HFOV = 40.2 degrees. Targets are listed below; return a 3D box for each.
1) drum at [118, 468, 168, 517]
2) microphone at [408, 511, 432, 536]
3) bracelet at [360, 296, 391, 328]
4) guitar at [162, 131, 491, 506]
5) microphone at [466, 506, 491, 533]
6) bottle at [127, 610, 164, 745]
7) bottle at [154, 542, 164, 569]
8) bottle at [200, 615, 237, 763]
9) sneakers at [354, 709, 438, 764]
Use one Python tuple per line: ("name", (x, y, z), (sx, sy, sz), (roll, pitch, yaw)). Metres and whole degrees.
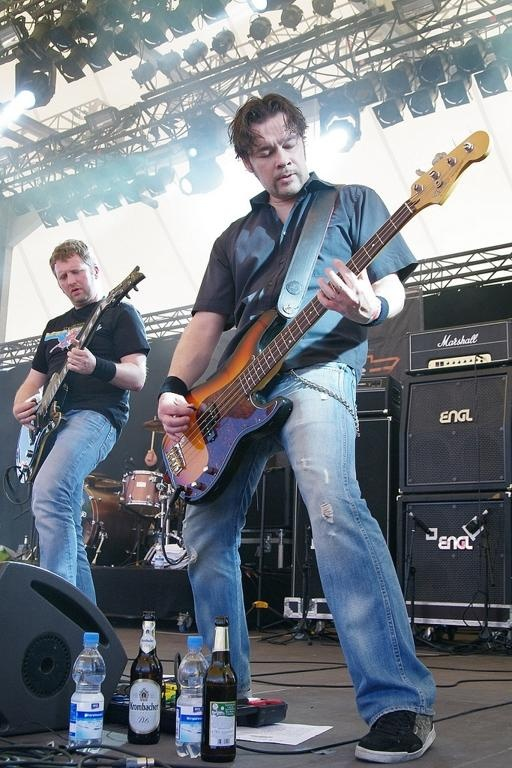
("drum", (-0.950, 0.912, 6.009), (0.469, 0.318, 0.443), (1, -19, 0))
("microphone", (0.913, 0.780, 3.893), (0.040, 0.150, 0.055), (8, -54, -49))
("bracelet", (0.248, -0.139, 1.480), (0.069, 0.065, 0.019), (-21, 45, -31))
("guitar", (0.081, -0.106, 1.673), (0.992, 0.758, 0.257), (-9, -5, 39))
("microphone", (1.173, 0.742, 3.711), (0.047, 0.128, 0.118), (2, 19, -28))
("bottle", (-0.236, 0.609, 1.443), (0.076, 0.283, 0.160), (-5, -4, -13))
("bottle", (-0.713, 1.281, 5.110), (0.065, 0.248, 0.147), (-3, -3, -18))
("bottle", (-0.073, 0.567, 1.272), (0.064, 0.234, 0.053), (-4, -5, -23))
("sneakers", (0.253, 0.635, 1.260), (0.065, 0.061, 0.166), (-21, -24, 36))
